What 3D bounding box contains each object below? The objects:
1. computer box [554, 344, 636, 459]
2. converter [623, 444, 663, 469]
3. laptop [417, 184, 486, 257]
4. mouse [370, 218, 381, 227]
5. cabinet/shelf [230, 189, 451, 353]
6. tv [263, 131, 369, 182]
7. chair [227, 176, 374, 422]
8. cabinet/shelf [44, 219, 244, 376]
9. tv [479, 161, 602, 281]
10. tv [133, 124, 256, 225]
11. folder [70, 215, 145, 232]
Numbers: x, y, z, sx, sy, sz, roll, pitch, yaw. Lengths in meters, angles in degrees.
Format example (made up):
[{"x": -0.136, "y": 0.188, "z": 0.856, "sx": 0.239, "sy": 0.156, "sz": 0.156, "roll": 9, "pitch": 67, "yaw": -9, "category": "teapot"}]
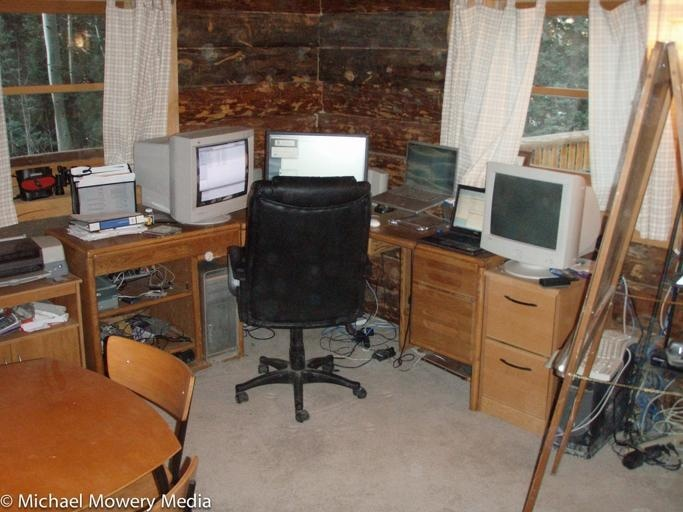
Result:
[{"x": 1.452, "y": 0.782, "z": 3.212, "sx": 0.550, "sy": 0.540, "sz": 0.335, "roll": -26, "pitch": 31, "yaw": -35, "category": "computer box"}, {"x": 1.608, "y": 1.079, "z": 2.988, "sx": 0.196, "sy": 0.100, "sz": 0.076, "roll": -22, "pitch": 1, "yaw": 30, "category": "converter"}, {"x": 0.805, "y": -0.234, "z": 3.630, "sx": 0.333, "sy": 0.435, "sz": 0.433, "roll": -3, "pitch": 14, "yaw": -33, "category": "laptop"}, {"x": 0.234, "y": -0.224, "z": 3.795, "sx": 0.064, "sy": 0.043, "sz": 0.063, "roll": 0, "pitch": 2, "yaw": -36, "category": "mouse"}, {"x": -0.005, "y": 0.083, "z": 3.461, "sx": 0.585, "sy": 0.682, "sz": 1.034, "roll": -15, "pitch": 28, "yaw": -32, "category": "cabinet/shelf"}, {"x": -0.186, "y": -0.726, "z": 4.030, "sx": 0.754, "sy": 0.324, "sz": 0.092, "roll": 2, "pitch": 22, "yaw": 3, "category": "tv"}, {"x": -0.241, "y": 0.249, "z": 3.284, "sx": 0.836, "sy": 1.471, "sz": 0.454, "roll": -4, "pitch": 22, "yaw": -10, "category": "chair"}, {"x": -1.233, "y": 0.229, "z": 3.449, "sx": 0.930, "sy": 0.813, "sz": 0.392, "roll": -16, "pitch": 26, "yaw": -41, "category": "cabinet/shelf"}, {"x": 1.202, "y": -0.265, "z": 3.521, "sx": 0.723, "sy": 0.759, "sz": 0.684, "roll": -18, "pitch": 22, "yaw": -29, "category": "tv"}, {"x": -1.067, "y": -0.627, "z": 3.939, "sx": 0.759, "sy": 0.633, "sz": 0.749, "roll": 19, "pitch": 28, "yaw": 28, "category": "tv"}, {"x": -1.444, "y": -0.210, "z": 3.459, "sx": 0.207, "sy": 0.049, "sz": 0.202, "roll": -10, "pitch": 17, "yaw": -35, "category": "folder"}]
